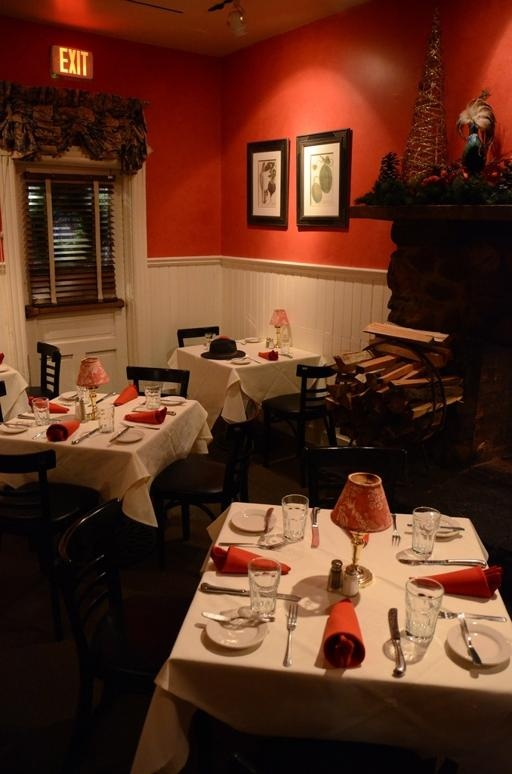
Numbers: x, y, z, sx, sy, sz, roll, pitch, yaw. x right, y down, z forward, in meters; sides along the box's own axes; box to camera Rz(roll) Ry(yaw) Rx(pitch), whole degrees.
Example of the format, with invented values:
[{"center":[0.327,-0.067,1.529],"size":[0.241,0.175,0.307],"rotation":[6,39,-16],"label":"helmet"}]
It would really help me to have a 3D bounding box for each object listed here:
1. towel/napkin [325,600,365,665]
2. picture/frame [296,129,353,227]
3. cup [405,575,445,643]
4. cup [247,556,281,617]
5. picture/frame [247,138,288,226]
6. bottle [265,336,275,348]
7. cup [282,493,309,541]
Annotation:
[{"center":[0.202,0.532,1.268],"size":[0.079,0.088,0.233],"rotation":[2,8,9],"label":"towel/napkin"},{"center":[0.521,-1.628,4.424],"size":[0.078,0.746,0.641],"rotation":[-7,15,-32],"label":"picture/frame"},{"center":[0.377,0.516,1.262],"size":[0.078,0.109,0.081],"rotation":[7,-14,2],"label":"cup"},{"center":[0.018,0.482,1.407],"size":[0.102,0.165,0.103],"rotation":[0,11,0],"label":"cup"},{"center":[0.107,-1.855,4.975],"size":[0.063,0.850,0.692],"rotation":[-8,17,-31],"label":"picture/frame"},{"center":[0.116,-0.379,4.829],"size":[0.060,0.095,0.091],"rotation":[2,7,5],"label":"bottle"},{"center":[0.118,0.404,1.788],"size":[0.114,0.164,0.117],"rotation":[-1,7,0],"label":"cup"}]
